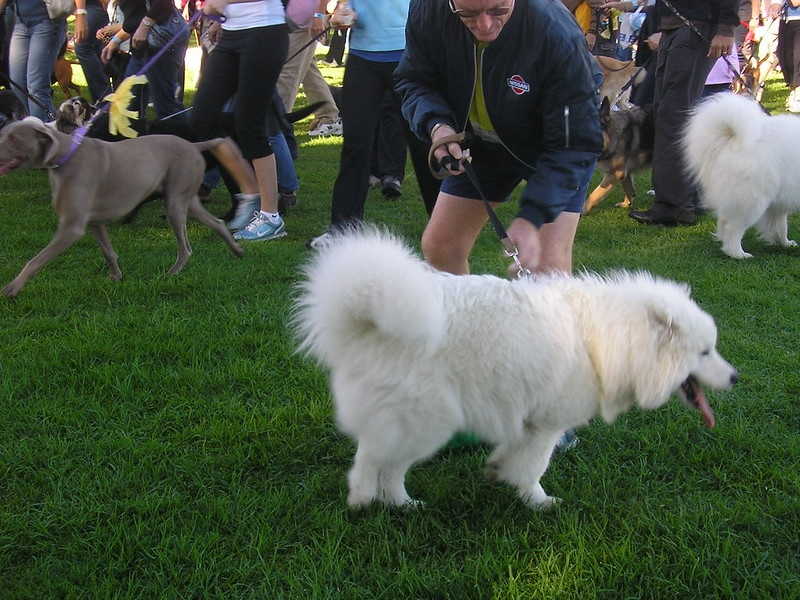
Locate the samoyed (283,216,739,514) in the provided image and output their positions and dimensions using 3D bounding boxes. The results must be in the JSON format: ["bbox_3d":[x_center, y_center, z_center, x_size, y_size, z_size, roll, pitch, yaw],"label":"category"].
[{"bbox_3d":[0.606,0.400,3.105,1.999,1.450,0.962,-2,14,-8],"label":"samoyed"}]

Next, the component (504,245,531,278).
[{"bbox_3d":[0.571,-0.189,3.215,0.050,0.188,0.096,-7,-17,-38],"label":"component"}]
